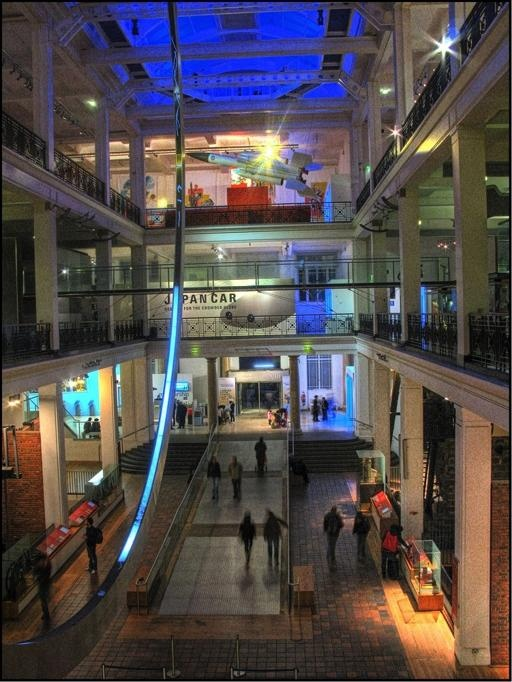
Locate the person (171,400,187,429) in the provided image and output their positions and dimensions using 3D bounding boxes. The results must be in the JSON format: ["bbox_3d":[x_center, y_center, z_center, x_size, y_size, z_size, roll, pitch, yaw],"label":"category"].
[{"bbox_3d":[-3.048,2.987,21.779,0.516,1.027,0.817,0,3,-4],"label":"person"}]

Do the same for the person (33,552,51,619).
[{"bbox_3d":[-3.491,3.990,8.893,0.246,1.037,1.404,-1,4,-23],"label":"person"}]

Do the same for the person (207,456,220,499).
[{"bbox_3d":[-1.018,3.372,13.465,0.292,1.183,0.229,1,18,8],"label":"person"}]

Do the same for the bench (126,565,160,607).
[{"bbox_3d":[-1.887,4.106,9.070,0.491,0.534,0.740,0,3,-6],"label":"bench"}]

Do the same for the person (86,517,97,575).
[{"bbox_3d":[-3.187,4.008,10.539,0.193,1.045,1.063,-1,3,-18],"label":"person"}]

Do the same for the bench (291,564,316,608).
[{"bbox_3d":[0.793,3.856,9.037,0.352,0.611,0.822,-1,8,3],"label":"bench"}]

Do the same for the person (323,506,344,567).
[{"bbox_3d":[1.458,3.674,10.422,0.309,1.146,0.361,2,12,-5],"label":"person"}]

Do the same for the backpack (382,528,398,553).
[{"bbox_3d":[2.365,3.533,9.550,0.231,0.498,0.291,1,3,11],"label":"backpack"}]

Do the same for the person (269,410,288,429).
[{"bbox_3d":[0.895,3.163,21.819,0.476,0.822,0.751,2,2,1],"label":"person"}]

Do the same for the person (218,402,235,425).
[{"bbox_3d":[-1.257,3.045,22.522,0.588,0.979,0.711,0,-3,8],"label":"person"}]
